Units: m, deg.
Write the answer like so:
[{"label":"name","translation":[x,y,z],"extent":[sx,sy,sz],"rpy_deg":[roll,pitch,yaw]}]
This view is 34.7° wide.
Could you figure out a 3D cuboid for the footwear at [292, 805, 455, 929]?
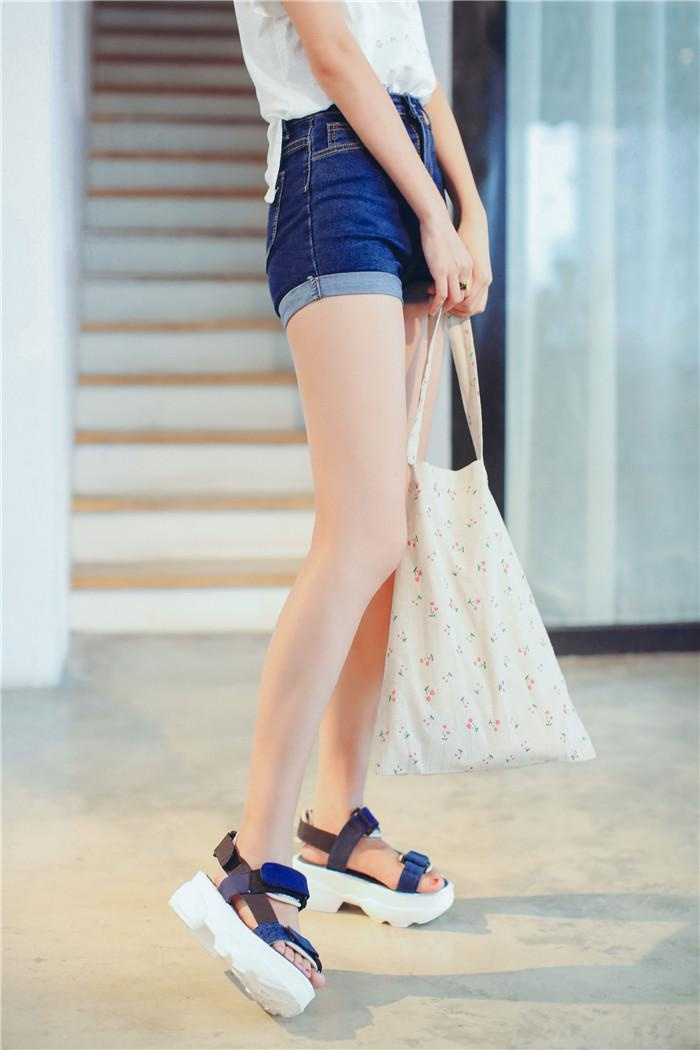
[{"label":"footwear","translation":[0.019,0.361,1.259],"extent":[0.199,0.122,0.091],"rpy_deg":[5,13,20]}]

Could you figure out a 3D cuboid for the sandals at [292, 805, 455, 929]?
[{"label":"sandals","translation":[0.020,0.373,1.292],"extent":[0.199,0.122,0.091],"rpy_deg":[5,13,20]}]

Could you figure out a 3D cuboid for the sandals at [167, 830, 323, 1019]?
[{"label":"sandals","translation":[-0.082,0.372,1.092],"extent":[0.182,0.123,0.094],"rpy_deg":[41,-10,18]}]
